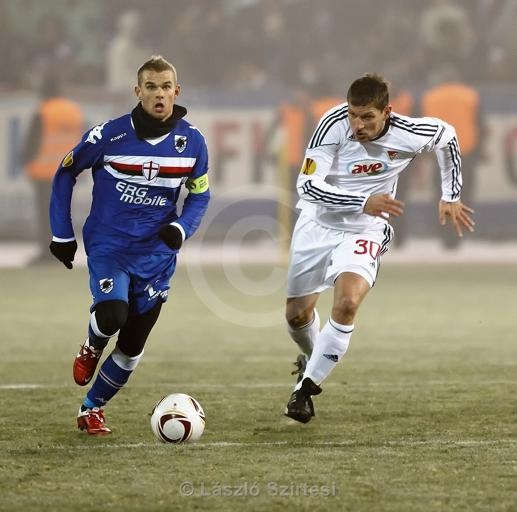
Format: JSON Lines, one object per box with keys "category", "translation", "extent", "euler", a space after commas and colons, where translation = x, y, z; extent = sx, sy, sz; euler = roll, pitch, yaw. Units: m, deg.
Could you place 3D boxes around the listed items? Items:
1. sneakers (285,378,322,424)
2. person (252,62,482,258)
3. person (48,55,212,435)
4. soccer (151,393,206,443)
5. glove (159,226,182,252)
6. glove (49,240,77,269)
{"category": "sneakers", "translation": [0.238, 0.791, 5.216], "extent": [0.120, 0.145, 0.331], "euler": [32, 12, -3]}
{"category": "person", "translation": [0.696, -0.562, 5.604], "extent": [0.717, 0.910, 0.849], "euler": [2, 6, 30]}
{"category": "person", "translation": [-0.692, -0.044, 5.179], "extent": [0.865, 2.033, 0.517], "euler": [-2, 6, -4]}
{"category": "soccer", "translation": [-0.424, 0.855, 5.100], "extent": [0.310, 0.236, 0.260], "euler": [2, -6, 0]}
{"category": "glove", "translation": [-0.470, -0.095, 5.158], "extent": [0.114, 0.135, 0.036], "euler": [-12, 23, 26]}
{"category": "glove", "translation": [-1.065, -0.016, 5.277], "extent": [0.152, 0.159, 0.054], "euler": [-12, 21, -7]}
